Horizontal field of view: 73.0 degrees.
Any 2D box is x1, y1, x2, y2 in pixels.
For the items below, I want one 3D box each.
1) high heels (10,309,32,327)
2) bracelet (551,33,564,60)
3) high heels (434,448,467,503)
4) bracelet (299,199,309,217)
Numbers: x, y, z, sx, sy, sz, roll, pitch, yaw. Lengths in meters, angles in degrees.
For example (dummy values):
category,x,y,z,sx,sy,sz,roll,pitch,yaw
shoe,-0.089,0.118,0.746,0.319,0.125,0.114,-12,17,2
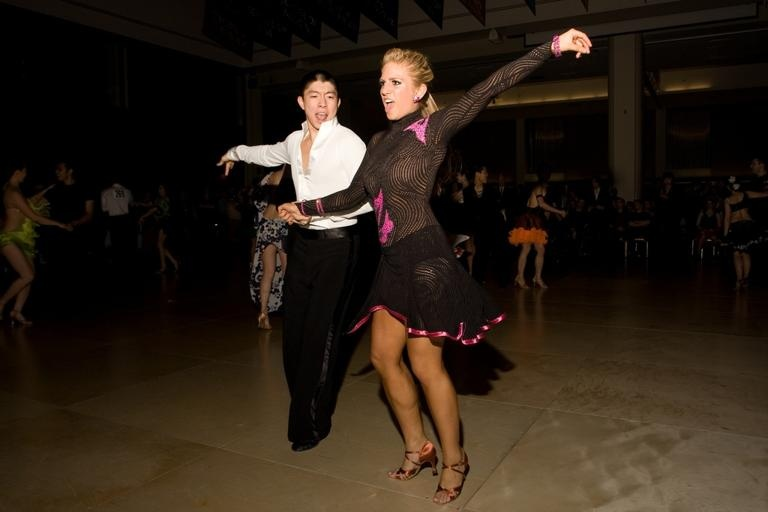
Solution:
category,x,y,z,sx,sy,sz,roll,pitch,yaw
high heels,-5.562,0.957,7.973,0.300,0.169,0.104,16,29,11
bracelet,1.116,-1.348,3.370,0.050,0.151,0.107,0,6,21
high heels,0.515,1.593,3.799,0.153,0.174,0.434,-10,5,29
bracelet,-0.616,-0.376,4.026,0.094,0.102,0.081,-6,-1,-18
